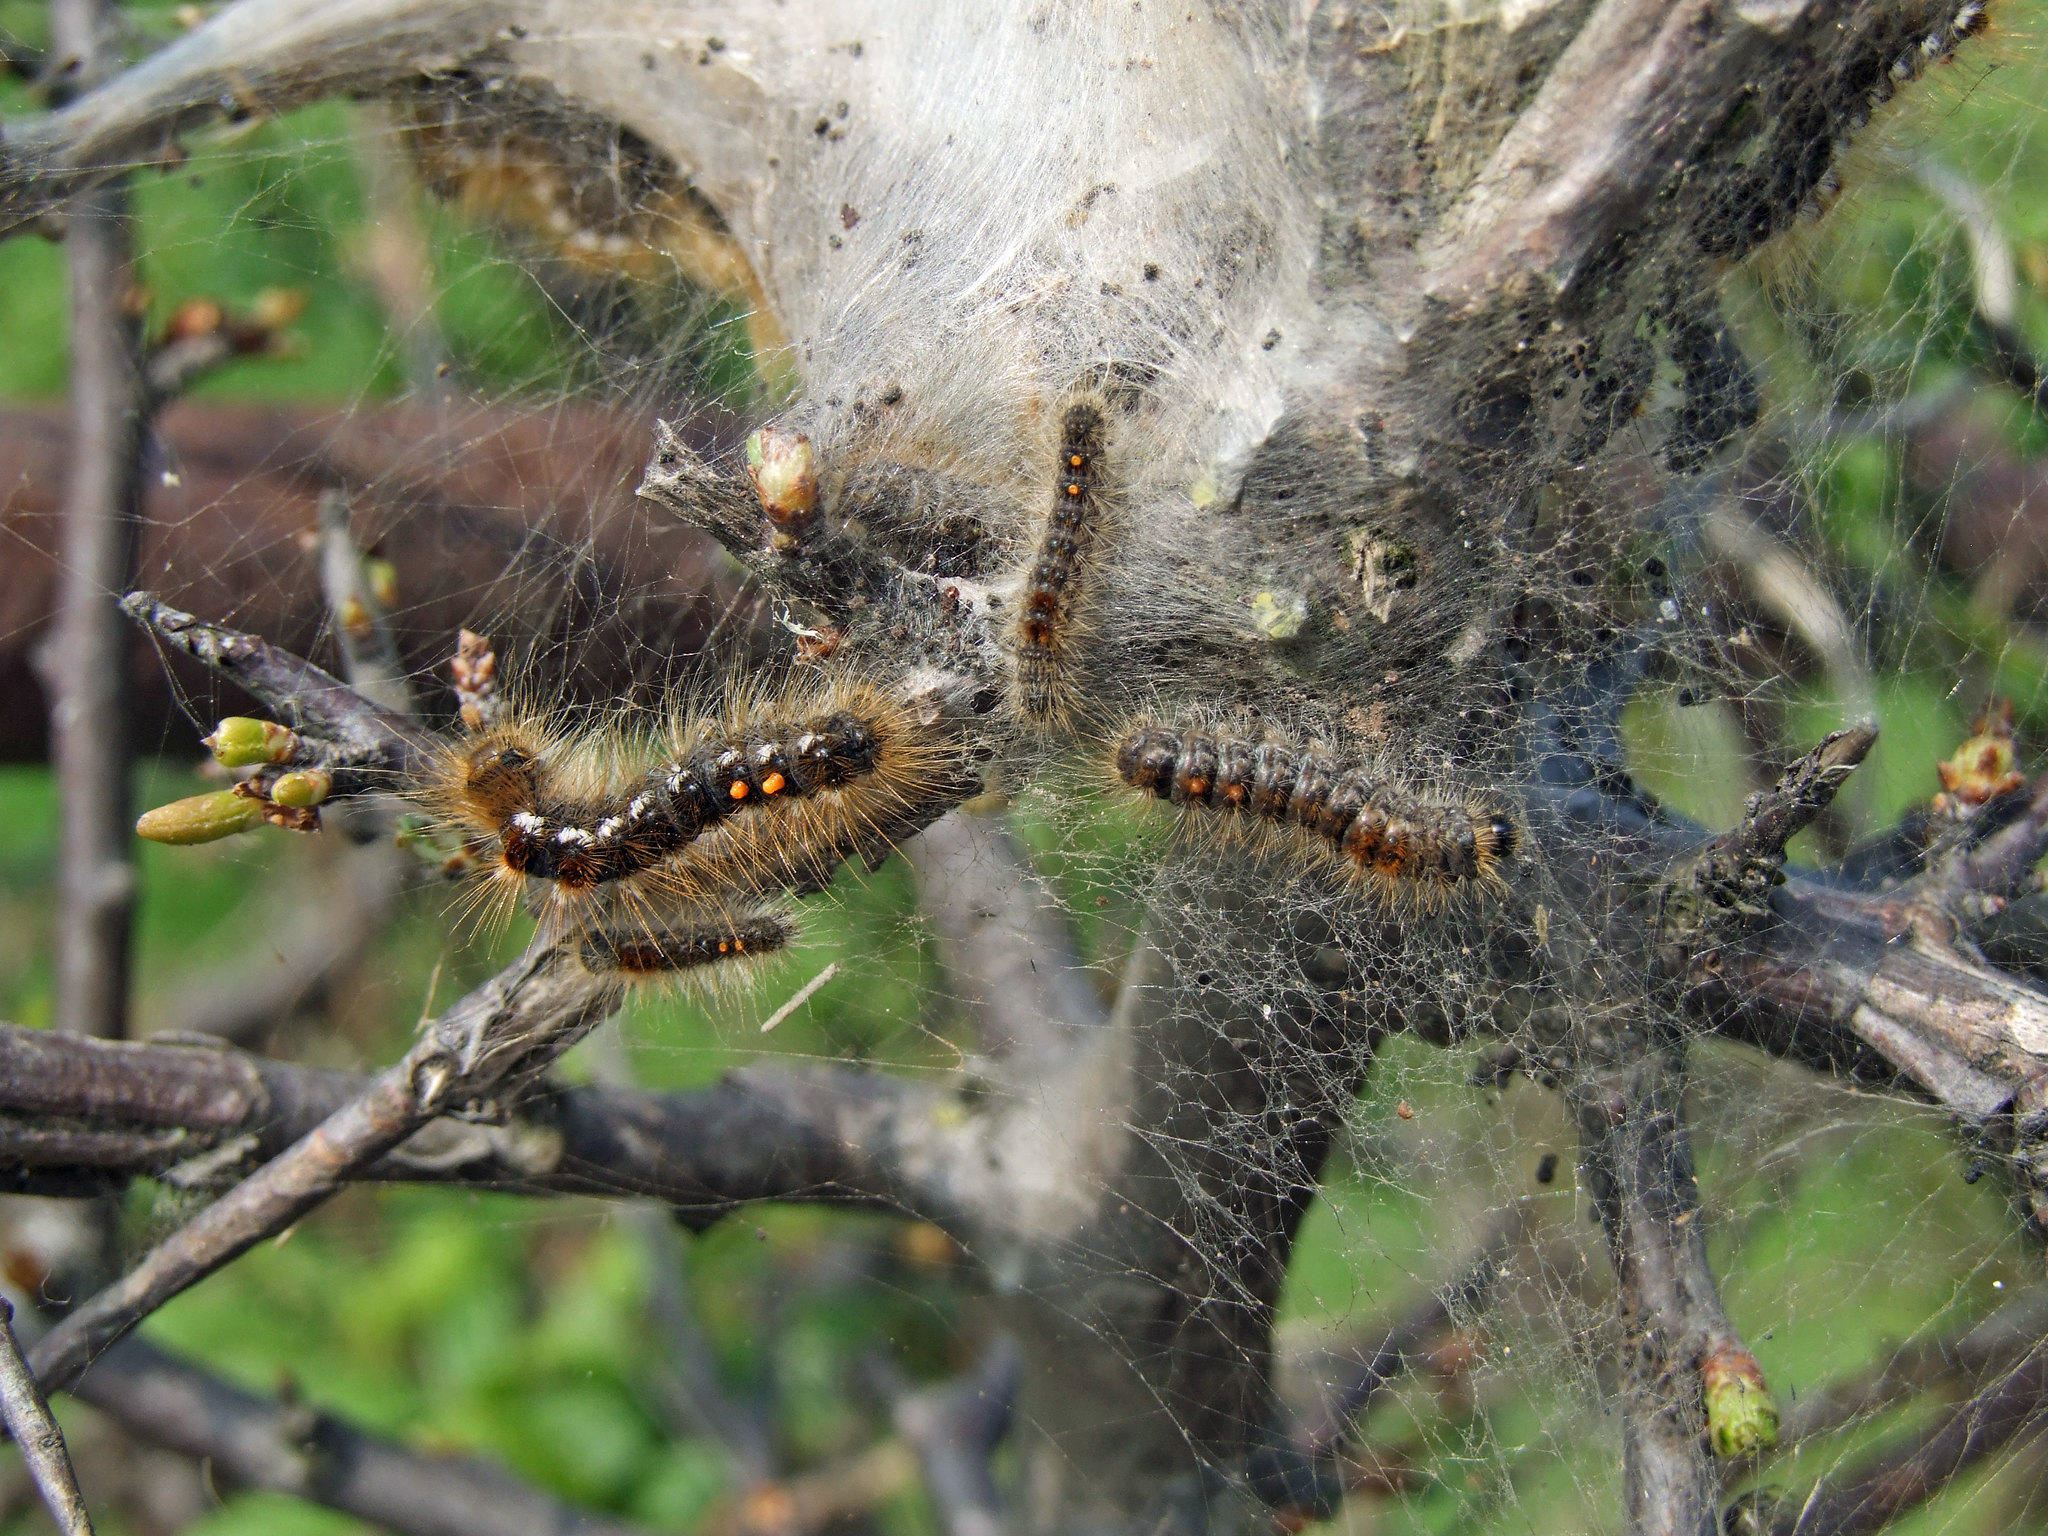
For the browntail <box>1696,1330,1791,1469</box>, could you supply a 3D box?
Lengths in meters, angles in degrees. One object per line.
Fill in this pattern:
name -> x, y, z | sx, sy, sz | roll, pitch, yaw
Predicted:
browntail -> 1.366, 1.180, 4.624 | 0.128, 0.128, 0.293 | -15, 34, 4
